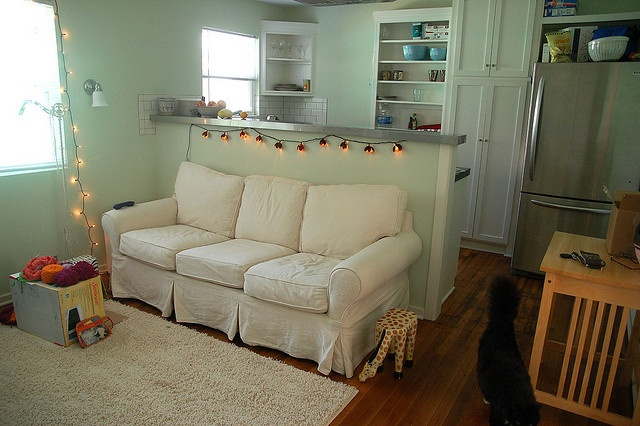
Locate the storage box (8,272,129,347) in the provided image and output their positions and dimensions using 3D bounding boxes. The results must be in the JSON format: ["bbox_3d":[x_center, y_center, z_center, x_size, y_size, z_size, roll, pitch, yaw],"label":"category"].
[{"bbox_3d":[-2.349,0.784,4.061,0.703,0.367,0.691,6,9,4],"label":"storage box"}]

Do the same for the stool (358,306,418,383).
[{"bbox_3d":[0.569,1.057,3.575,0.263,0.466,0.572,13,21,38],"label":"stool"}]

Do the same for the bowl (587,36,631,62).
[{"bbox_3d":[2.921,-1.666,4.551,0.339,0.251,0.206,9,19,28],"label":"bowl"}]

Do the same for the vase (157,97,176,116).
[{"bbox_3d":[-1.779,-1.264,5.309,0.230,0.189,0.224,4,18,7],"label":"vase"}]

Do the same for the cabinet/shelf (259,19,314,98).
[{"bbox_3d":[-0.498,-2.360,6.744,1.168,1.251,0.565,0,10,-7],"label":"cabinet/shelf"}]

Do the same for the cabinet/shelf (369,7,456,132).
[{"bbox_3d":[1.224,-1.930,6.098,1.079,1.571,0.565,6,18,18],"label":"cabinet/shelf"}]

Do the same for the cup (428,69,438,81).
[{"bbox_3d":[1.528,-1.869,6.055,0.140,0.137,0.136,1,23,-1],"label":"cup"}]

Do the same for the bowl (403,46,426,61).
[{"bbox_3d":[1.276,-2.123,6.019,0.235,0.117,0.240,0,6,0],"label":"bowl"}]

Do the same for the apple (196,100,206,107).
[{"bbox_3d":[-1.369,-1.265,5.160,0.085,0.037,0.100,11,22,-31],"label":"apple"}]

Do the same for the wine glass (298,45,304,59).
[{"bbox_3d":[-0.269,-2.430,6.743,0.066,0.201,0.076,-11,20,-30],"label":"wine glass"}]

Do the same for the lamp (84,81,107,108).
[{"bbox_3d":[-2.337,-1.246,4.673,0.220,0.289,0.174,-11,20,-32],"label":"lamp"}]

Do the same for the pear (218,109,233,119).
[{"bbox_3d":[-1.055,-1.103,4.994,0.103,0.063,0.137,4,22,11],"label":"pear"}]

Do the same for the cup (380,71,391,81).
[{"bbox_3d":[0.926,-1.922,6.278,0.142,0.115,0.154,1,13,0],"label":"cup"}]

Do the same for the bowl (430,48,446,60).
[{"bbox_3d":[1.567,-2.113,5.955,0.211,0.172,0.208,0,16,0],"label":"bowl"}]

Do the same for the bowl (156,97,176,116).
[{"bbox_3d":[-1.788,-1.266,5.323,0.229,0.181,0.227,1,19,-1],"label":"bowl"}]

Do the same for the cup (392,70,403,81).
[{"bbox_3d":[1.097,-1.926,6.279,0.162,0.148,0.109,10,18,38],"label":"cup"}]
